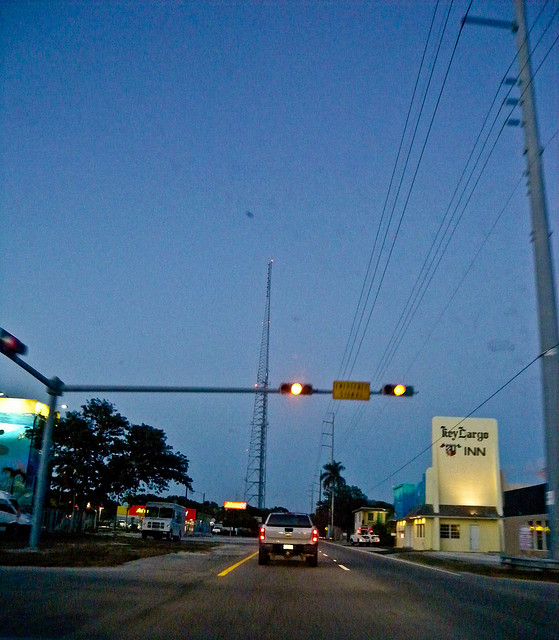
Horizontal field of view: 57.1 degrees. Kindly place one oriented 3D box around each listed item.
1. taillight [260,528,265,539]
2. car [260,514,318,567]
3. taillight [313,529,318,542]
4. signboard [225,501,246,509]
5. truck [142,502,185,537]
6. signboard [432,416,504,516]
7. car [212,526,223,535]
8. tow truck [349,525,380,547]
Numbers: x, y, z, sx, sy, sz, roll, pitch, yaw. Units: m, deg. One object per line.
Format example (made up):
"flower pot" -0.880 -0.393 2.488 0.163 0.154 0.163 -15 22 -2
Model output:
"taillight" -0.614 7.230 17.636 0.215 0.343 0.116 -11 -23 34
"car" 0.313 7.559 17.956 1.960 1.693 1.101 2 -20 3
"taillight" 1.226 7.399 17.838 0.111 0.389 0.379 -2 -21 14
"signboard" -7.753 31.714 89.043 3.980 0.974 1.718 -8 -25 26
"truck" -9.654 16.615 42.943 2.211 2.402 4.389 0 -32 0
"signboard" 19.458 14.929 53.835 6.831 11.328 1.389 -4 -53 20
"car" -10.540 34.751 85.957 1.097 1.184 2.212 -1 -36 -4
"tow truck" 9.706 24.655 58.963 2.759 1.776 4.639 3 -23 3
